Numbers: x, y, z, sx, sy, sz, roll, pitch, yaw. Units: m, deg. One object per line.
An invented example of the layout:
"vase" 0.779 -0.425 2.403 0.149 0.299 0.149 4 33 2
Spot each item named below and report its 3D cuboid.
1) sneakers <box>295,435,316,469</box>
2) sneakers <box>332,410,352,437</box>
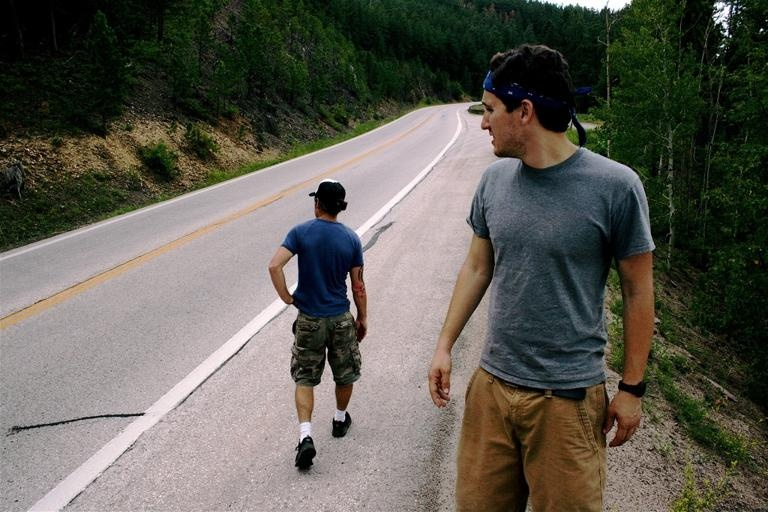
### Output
"sneakers" -1.167 2.898 8.249 0.241 0.522 0.258 1 37 -19
"sneakers" -0.658 2.583 8.733 0.174 0.211 0.449 2 20 10
